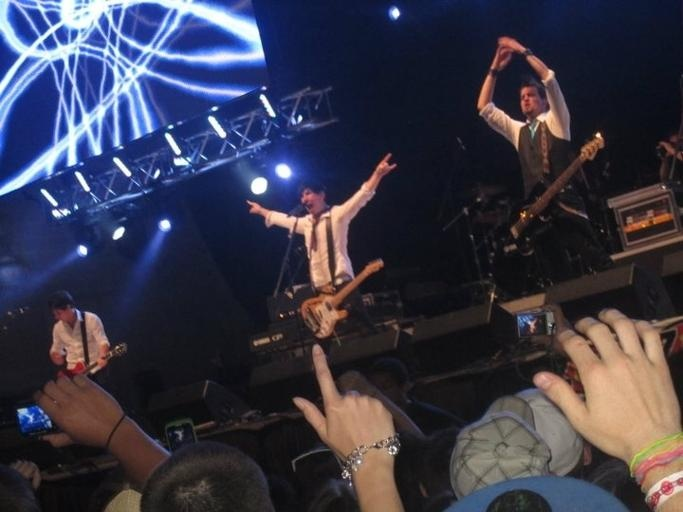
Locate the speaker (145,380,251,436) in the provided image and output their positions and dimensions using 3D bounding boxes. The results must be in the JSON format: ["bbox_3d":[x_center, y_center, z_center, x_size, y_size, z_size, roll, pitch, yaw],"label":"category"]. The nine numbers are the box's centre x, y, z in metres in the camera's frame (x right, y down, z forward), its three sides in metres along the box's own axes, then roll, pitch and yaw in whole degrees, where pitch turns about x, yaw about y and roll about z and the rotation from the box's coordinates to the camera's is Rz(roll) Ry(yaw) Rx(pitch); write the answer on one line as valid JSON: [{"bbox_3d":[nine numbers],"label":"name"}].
[{"bbox_3d":[-1.063,1.297,4.380,0.565,0.286,0.558,-11,-23,22],"label":"speaker"}]

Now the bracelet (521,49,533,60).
[{"bbox_3d":[1.497,-1.621,4.447,0.069,0.100,0.036,0,-41,7],"label":"bracelet"}]

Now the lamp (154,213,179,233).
[{"bbox_3d":[-2.099,-0.371,6.623,0.197,0.188,0.072,-19,-14,-5],"label":"lamp"}]

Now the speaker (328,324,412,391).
[{"bbox_3d":[0.185,0.724,3.940,0.392,0.405,0.108,-17,-49,24],"label":"speaker"}]

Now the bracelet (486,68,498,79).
[{"bbox_3d":[1.296,-1.554,4.769,0.120,0.096,0.125,-1,16,3],"label":"bracelet"}]

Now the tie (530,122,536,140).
[{"bbox_3d":[1.618,-1.060,4.683,0.027,0.112,0.076,4,-6,-16],"label":"tie"}]

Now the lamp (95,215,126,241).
[{"bbox_3d":[-2.727,-0.315,6.589,0.366,0.370,0.223,4,-7,4],"label":"lamp"}]

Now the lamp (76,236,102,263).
[{"bbox_3d":[-3.014,-0.069,6.580,0.243,0.261,0.059,3,23,9],"label":"lamp"}]

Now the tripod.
[{"bbox_3d":[1.397,0.038,5.195,0.359,0.788,0.107,0,8,39],"label":"tripod"}]

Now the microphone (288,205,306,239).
[{"bbox_3d":[-0.445,-0.380,5.403,0.098,0.427,0.118,18,3,15],"label":"microphone"}]

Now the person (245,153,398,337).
[{"bbox_3d":[-0.140,-0.161,5.384,0.335,1.297,1.442,20,-38,-38],"label":"person"}]

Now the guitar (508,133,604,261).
[{"bbox_3d":[1.785,-0.485,4.546,0.150,0.390,1.094,2,-46,-51],"label":"guitar"}]
